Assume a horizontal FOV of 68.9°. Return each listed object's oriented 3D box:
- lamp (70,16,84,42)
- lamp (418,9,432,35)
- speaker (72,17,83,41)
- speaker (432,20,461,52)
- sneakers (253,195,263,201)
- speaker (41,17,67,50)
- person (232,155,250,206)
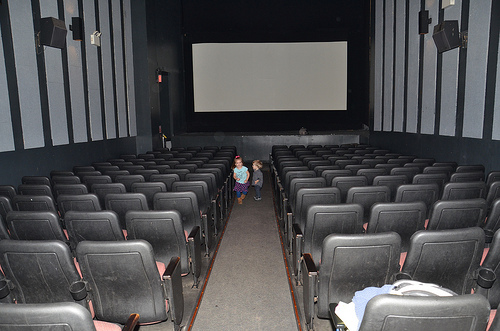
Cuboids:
[{"bbox_3d":[-4.118,-3.246,8.687,0.263,0.247,0.473,0,-72,-8],"label":"lamp"},{"bbox_3d":[4.360,-3.541,9.022,0.246,0.248,0.526,1,-78,25],"label":"lamp"},{"bbox_3d":[-4.139,-3.227,8.679,0.257,0.263,0.485,-3,-81,-10],"label":"speaker"},{"bbox_3d":[4.239,-2.808,7.895,0.372,0.409,0.592,-12,-71,2],"label":"speaker"},{"bbox_3d":[0.169,0.715,7.946,0.195,0.073,0.090,2,-81,-7],"label":"sneakers"},{"bbox_3d":[-4.055,-2.718,7.577,0.385,0.415,0.581,1,-76,7],"label":"speaker"},{"bbox_3d":[-0.183,0.318,7.808,0.372,0.354,1.000,-7,-71,-14],"label":"person"}]
